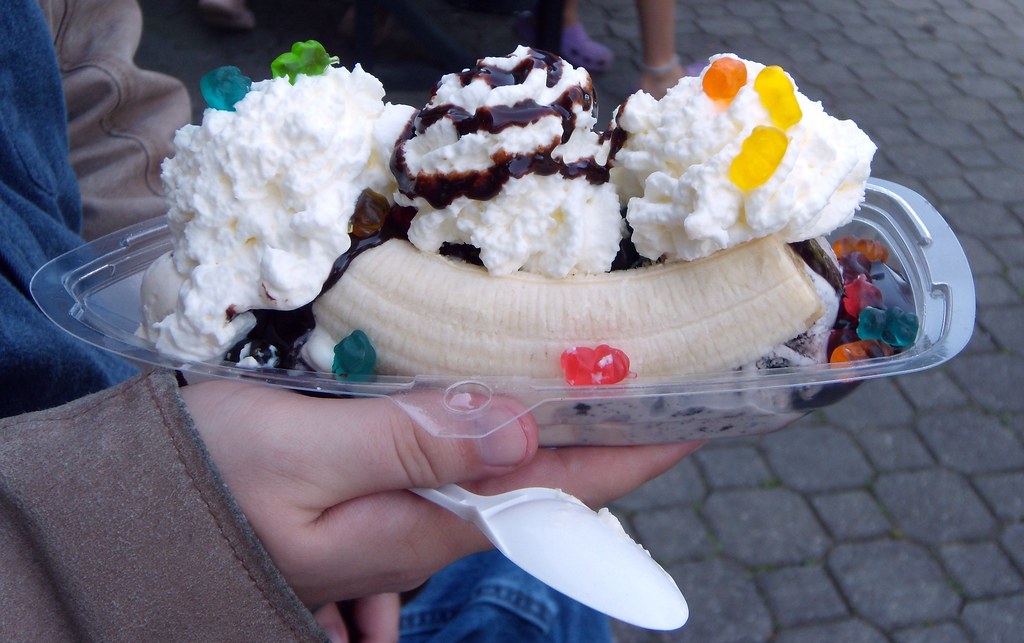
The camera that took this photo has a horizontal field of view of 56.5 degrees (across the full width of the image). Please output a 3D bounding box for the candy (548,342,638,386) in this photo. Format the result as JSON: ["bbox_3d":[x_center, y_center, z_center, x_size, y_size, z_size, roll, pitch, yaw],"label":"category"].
[{"bbox_3d":[0.185,0.097,2.073,0.156,0.052,0.100,0,60,-2],"label":"candy"}]

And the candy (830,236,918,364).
[{"bbox_3d":[0.814,-0.043,2.165,0.190,0.074,0.284,-6,71,12],"label":"candy"}]

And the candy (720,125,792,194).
[{"bbox_3d":[0.525,-0.347,2.032,0.094,0.036,0.137,38,93,11],"label":"candy"}]

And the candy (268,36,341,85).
[{"bbox_3d":[-0.486,-0.612,2.246,0.143,0.103,0.154,-3,22,-10],"label":"candy"}]

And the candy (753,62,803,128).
[{"bbox_3d":[0.573,-0.484,2.050,0.078,0.042,0.141,-25,81,17],"label":"candy"}]

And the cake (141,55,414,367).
[{"bbox_3d":[-0.522,-0.253,2.143,0.704,0.333,0.435,-20,63,-13],"label":"cake"}]

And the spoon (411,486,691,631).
[{"bbox_3d":[0.067,0.488,2.127,0.694,0.103,0.216,25,71,17],"label":"spoon"}]

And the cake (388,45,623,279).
[{"bbox_3d":[-0.007,-0.373,2.236,0.698,0.460,0.502,-20,33,-31],"label":"cake"}]

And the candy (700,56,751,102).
[{"bbox_3d":[0.455,-0.523,2.075,0.081,0.038,0.098,28,88,18],"label":"candy"}]
